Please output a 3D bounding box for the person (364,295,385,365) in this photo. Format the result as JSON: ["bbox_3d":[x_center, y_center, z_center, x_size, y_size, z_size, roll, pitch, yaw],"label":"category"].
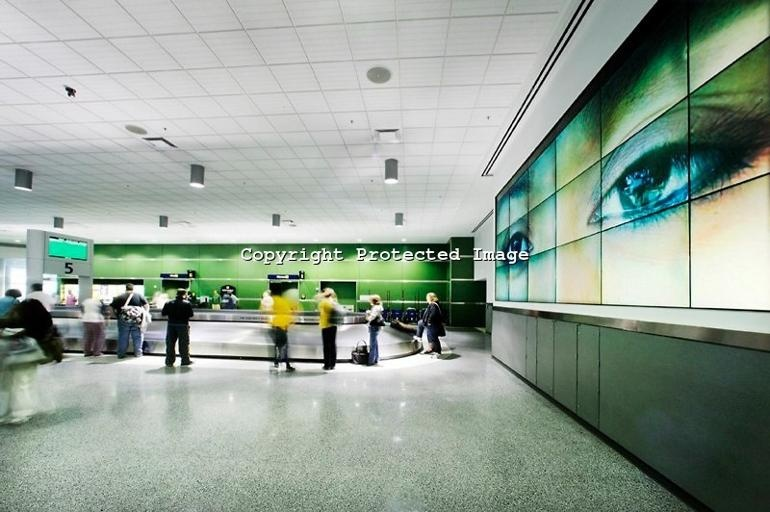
[{"bbox_3d":[-0.218,1.499,10.060,0.262,1.406,0.511,0,9,-1],"label":"person"}]

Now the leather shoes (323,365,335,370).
[{"bbox_3d":[-1.085,2.160,9.660,0.227,0.129,0.072,2,-4,18],"label":"leather shoes"}]

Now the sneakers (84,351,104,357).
[{"bbox_3d":[-6.183,2.096,10.591,0.112,0.127,0.339,5,4,39],"label":"sneakers"}]

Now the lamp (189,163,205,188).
[{"bbox_3d":[-3.829,-1.634,10.160,0.278,0.430,0.380,-2,9,-19],"label":"lamp"}]

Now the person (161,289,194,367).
[{"bbox_3d":[-4.108,1.404,9.868,0.535,1.497,0.607,-3,10,-20],"label":"person"}]

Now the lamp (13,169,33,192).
[{"bbox_3d":[-7.517,-1.590,10.384,0.335,0.410,0.522,-5,10,-33],"label":"lamp"}]

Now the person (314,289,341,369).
[{"bbox_3d":[-1.093,1.433,9.622,0.338,1.621,0.570,0,9,-5],"label":"person"}]

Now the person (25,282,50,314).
[{"bbox_3d":[-6.414,0.749,9.281,0.268,0.480,0.769,-6,10,-36],"label":"person"}]

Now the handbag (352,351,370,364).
[{"bbox_3d":[-0.505,2.085,10.143,0.246,0.176,0.311,-6,-10,34],"label":"handbag"}]

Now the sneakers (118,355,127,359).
[{"bbox_3d":[-5.530,2.114,10.465,0.152,0.070,0.245,-3,8,-25],"label":"sneakers"}]

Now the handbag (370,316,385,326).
[{"bbox_3d":[-0.168,1.311,9.904,0.238,0.203,0.217,2,-10,-5],"label":"handbag"}]

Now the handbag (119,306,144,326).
[{"bbox_3d":[-5.193,1.254,10.419,0.362,0.406,0.465,5,-12,-3],"label":"handbag"}]

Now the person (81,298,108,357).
[{"bbox_3d":[-6.170,1.508,10.546,0.438,1.229,0.231,-4,10,-27],"label":"person"}]

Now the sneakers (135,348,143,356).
[{"bbox_3d":[-5.229,2.074,10.565,0.186,0.157,0.103,1,-1,-8],"label":"sneakers"}]

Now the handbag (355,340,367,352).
[{"bbox_3d":[-0.493,1.859,10.228,0.230,0.145,0.213,-2,9,-9],"label":"handbag"}]

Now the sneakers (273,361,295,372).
[{"bbox_3d":[-1.900,2.127,9.537,0.563,0.202,0.164,2,10,5],"label":"sneakers"}]

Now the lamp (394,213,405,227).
[{"bbox_3d":[0.413,-1.000,13.970,0.356,0.314,0.331,4,-8,-17],"label":"lamp"}]

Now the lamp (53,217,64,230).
[{"bbox_3d":[-9.753,-0.955,14.858,0.443,0.355,0.412,0,-1,-19],"label":"lamp"}]

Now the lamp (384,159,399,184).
[{"bbox_3d":[0.116,-1.665,9.763,0.283,0.458,0.294,1,9,-1],"label":"lamp"}]

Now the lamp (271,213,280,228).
[{"bbox_3d":[-3.103,-1.025,14.517,0.364,0.349,0.334,0,-3,-6],"label":"lamp"}]
